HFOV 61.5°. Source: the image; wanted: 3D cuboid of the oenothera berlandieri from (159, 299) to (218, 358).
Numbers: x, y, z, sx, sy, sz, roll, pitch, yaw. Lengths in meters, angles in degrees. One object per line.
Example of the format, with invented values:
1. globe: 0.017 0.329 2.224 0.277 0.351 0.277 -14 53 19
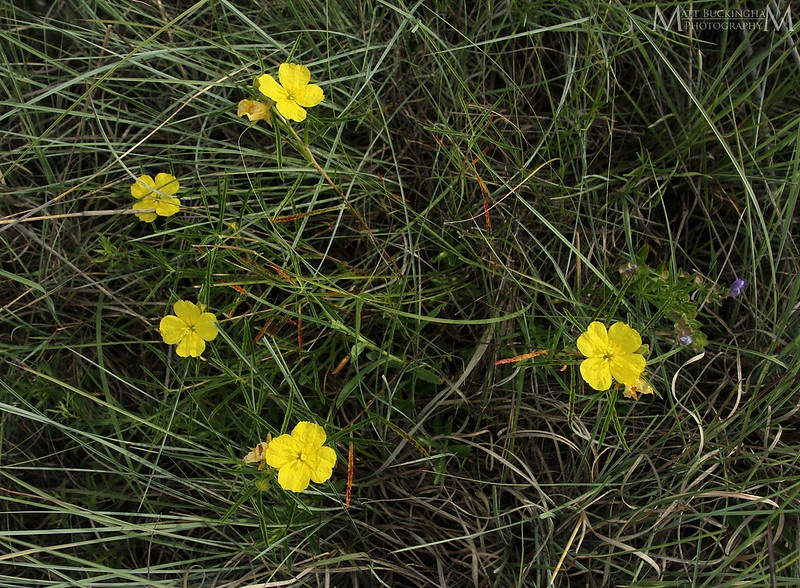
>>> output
1. oenothera berlandieri: -0.563 0.074 1.817 0.132 0.147 0.047 34 37 -30

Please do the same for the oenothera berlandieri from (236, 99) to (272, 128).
1. oenothera berlandieri: -0.387 -0.465 1.783 0.074 0.073 0.037 -21 30 19

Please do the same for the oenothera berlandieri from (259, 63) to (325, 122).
1. oenothera berlandieri: -0.281 -0.505 1.747 0.136 0.095 0.152 36 73 13

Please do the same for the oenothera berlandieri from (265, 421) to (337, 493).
1. oenothera berlandieri: -0.248 0.445 1.792 0.158 0.303 0.146 -29 71 -11

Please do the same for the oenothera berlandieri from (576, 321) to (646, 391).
1. oenothera berlandieri: 0.514 0.154 1.653 0.175 0.076 0.155 9 69 3
